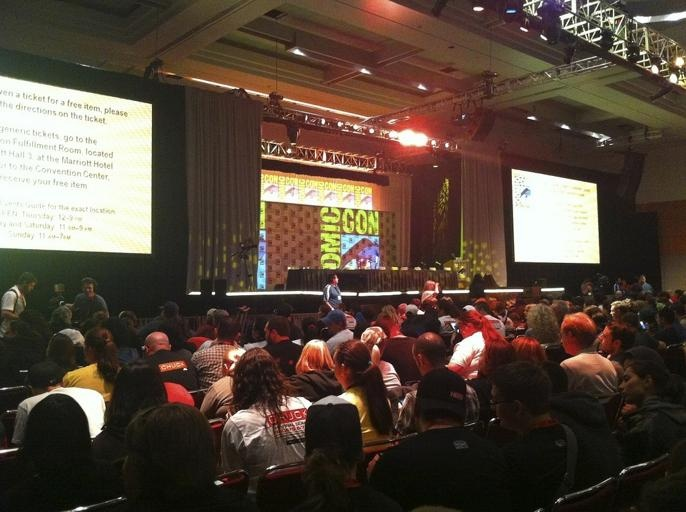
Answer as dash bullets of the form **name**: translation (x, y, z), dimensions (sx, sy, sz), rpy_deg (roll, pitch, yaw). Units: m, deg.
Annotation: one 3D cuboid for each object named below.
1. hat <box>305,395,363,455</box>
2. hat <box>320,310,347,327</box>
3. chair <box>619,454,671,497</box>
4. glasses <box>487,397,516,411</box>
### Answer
- **hat**: translation (-0.052, 0.870, 2.800), dimensions (0.277, 0.264, 0.459), rpy_deg (0, -10, 3)
- **hat**: translation (-0.120, 0.788, 6.753), dimensions (0.307, 0.180, 0.224), rpy_deg (0, -3, 9)
- **chair**: translation (1.716, 1.253, 3.030), dimensions (0.477, 0.152, 0.124), rpy_deg (2, -2, -34)
- **glasses**: translation (0.952, 0.921, 3.212), dimensions (0.134, 0.043, 0.136), rpy_deg (0, 0, -40)
